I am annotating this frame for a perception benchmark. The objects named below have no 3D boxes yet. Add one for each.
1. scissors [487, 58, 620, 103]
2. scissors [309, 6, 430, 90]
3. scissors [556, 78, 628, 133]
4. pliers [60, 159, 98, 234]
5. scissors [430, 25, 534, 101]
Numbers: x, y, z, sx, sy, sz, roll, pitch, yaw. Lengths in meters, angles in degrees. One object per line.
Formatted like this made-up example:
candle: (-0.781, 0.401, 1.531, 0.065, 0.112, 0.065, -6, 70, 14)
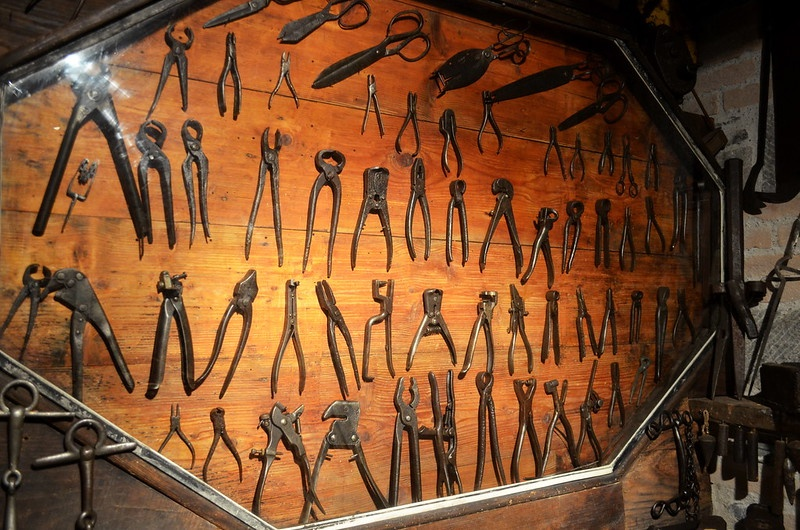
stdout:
scissors: (0.632, -0.792, 2.870, 0.614, 0.084, 0.074, -19, 9, -25)
scissors: (-0.089, -0.816, 2.532, 0.566, 0.215, 0.060, -28, 9, -20)
scissors: (0.846, -0.675, 2.966, 0.371, 0.193, 0.025, -30, 19, -16)
pliers: (-1.082, -0.233, 2.263, 0.078, 0.259, 0.028, 26, -15, -24)
scissors: (0.327, -0.837, 2.749, 0.528, 0.190, 0.065, -31, 12, -25)
